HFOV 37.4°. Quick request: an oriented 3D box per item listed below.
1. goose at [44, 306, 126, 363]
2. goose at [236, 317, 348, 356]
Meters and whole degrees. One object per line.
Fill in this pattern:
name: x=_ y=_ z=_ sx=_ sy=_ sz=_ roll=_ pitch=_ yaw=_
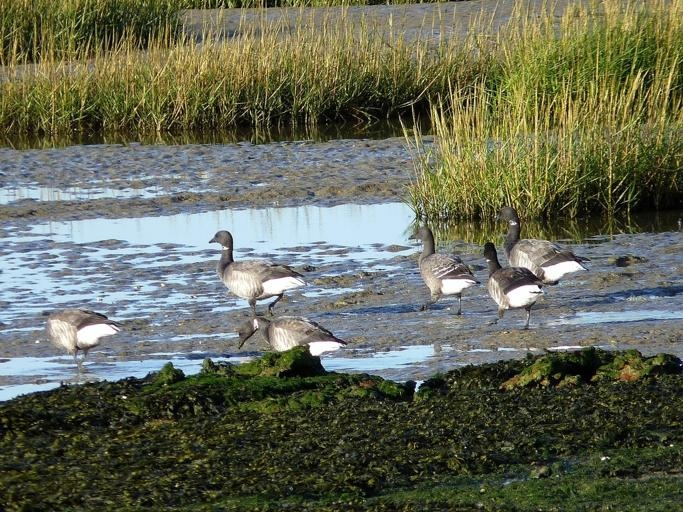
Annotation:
goose: x=-3.127 y=0.937 z=12.378 sx=1.256 sy=0.601 sz=0.557 roll=-4 pitch=-2 yaw=28
goose: x=-0.559 y=1.000 z=12.410 sx=1.491 sy=0.502 sz=0.460 roll=-1 pitch=-5 yaw=30
